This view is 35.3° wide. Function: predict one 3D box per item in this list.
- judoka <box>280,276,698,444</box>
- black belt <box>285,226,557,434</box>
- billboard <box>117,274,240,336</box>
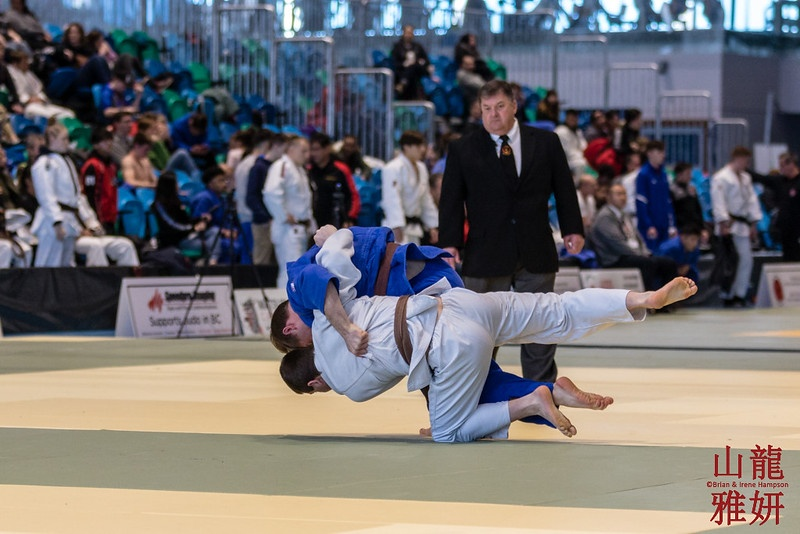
[{"bbox_3d":[0.606,0.624,9.709,3.246,1.571,1.164,-9,22,5],"label":"judoka"},{"bbox_3d":[-0.249,0.619,9.954,1.590,1.769,3.274,-1,-1,-29],"label":"black belt"},{"bbox_3d":[-2.488,0.455,14.219,1.465,0.774,0.275,-8,12,-40],"label":"billboard"}]
